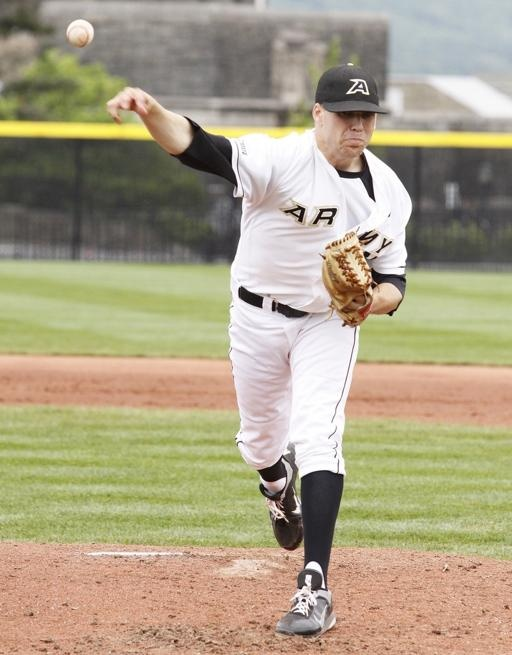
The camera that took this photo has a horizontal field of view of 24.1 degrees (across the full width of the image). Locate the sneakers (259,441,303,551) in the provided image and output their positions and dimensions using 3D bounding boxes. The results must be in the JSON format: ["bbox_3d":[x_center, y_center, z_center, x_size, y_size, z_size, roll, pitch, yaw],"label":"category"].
[{"bbox_3d":[0.144,0.695,5.044,0.159,0.437,0.199,-10,9,20],"label":"sneakers"}]

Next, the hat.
[{"bbox_3d":[0.339,-0.850,4.274,0.184,0.130,0.238,-1,9,-26],"label":"hat"}]

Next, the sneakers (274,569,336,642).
[{"bbox_3d":[0.179,0.927,4.103,0.141,0.227,0.214,7,8,24],"label":"sneakers"}]

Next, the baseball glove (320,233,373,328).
[{"bbox_3d":[0.327,-0.171,4.210,0.182,0.292,0.111,-16,11,-21],"label":"baseball glove"}]

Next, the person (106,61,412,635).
[{"bbox_3d":[0.071,0.017,4.372,0.749,1.955,0.828,7,8,20],"label":"person"}]
